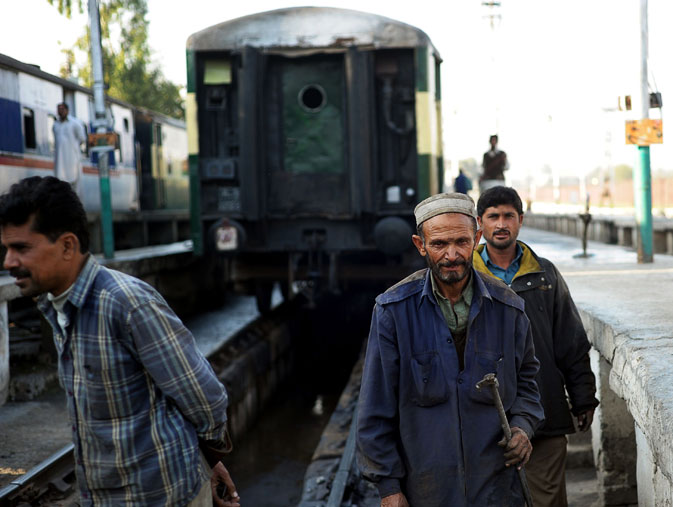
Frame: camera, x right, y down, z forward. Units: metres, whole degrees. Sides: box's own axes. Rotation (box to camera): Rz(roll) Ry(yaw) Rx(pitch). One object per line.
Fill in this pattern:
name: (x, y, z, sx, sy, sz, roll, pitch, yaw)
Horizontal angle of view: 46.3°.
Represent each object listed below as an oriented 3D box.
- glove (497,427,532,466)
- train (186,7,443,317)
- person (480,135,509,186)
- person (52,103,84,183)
glove: (0.938, 1.021, 4.191, 0.138, 0.213, 0.074, 20, 13, -10)
train: (-0.186, -1.368, 11.803, 1.950, 2.976, 4.477, -1, -1, 3)
person: (3.183, -1.875, 16.066, 0.552, 1.085, 1.144, -2, 7, 12)
person: (-4.427, -1.791, 13.040, 0.520, 1.415, 1.080, -5, 6, -20)
